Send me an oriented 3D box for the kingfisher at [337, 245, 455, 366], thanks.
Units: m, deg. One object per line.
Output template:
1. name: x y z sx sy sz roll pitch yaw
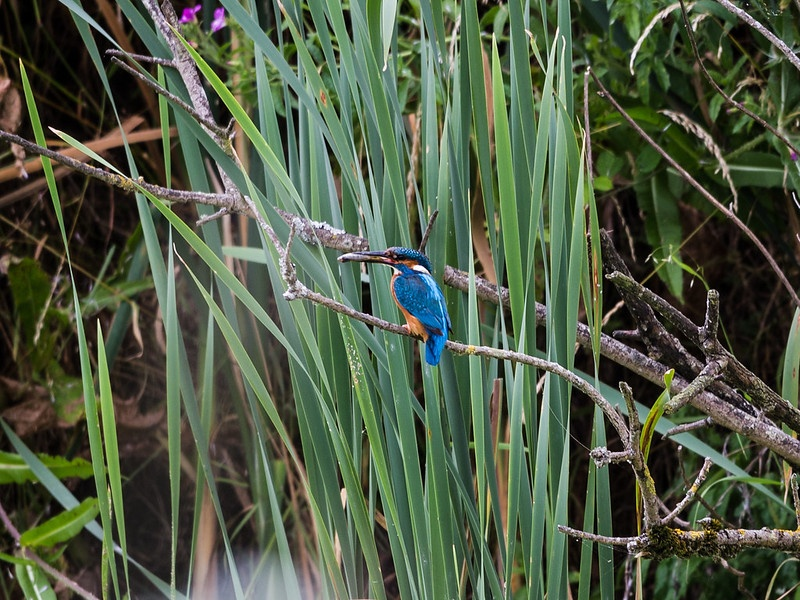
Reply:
1. kingfisher: 0.028 -0.036 2.806 0.297 0.282 0.122 10 39 19

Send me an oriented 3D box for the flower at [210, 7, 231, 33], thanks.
1. flower: -0.643 -1.000 3.627 0.040 0.125 0.088 9 1 -27
